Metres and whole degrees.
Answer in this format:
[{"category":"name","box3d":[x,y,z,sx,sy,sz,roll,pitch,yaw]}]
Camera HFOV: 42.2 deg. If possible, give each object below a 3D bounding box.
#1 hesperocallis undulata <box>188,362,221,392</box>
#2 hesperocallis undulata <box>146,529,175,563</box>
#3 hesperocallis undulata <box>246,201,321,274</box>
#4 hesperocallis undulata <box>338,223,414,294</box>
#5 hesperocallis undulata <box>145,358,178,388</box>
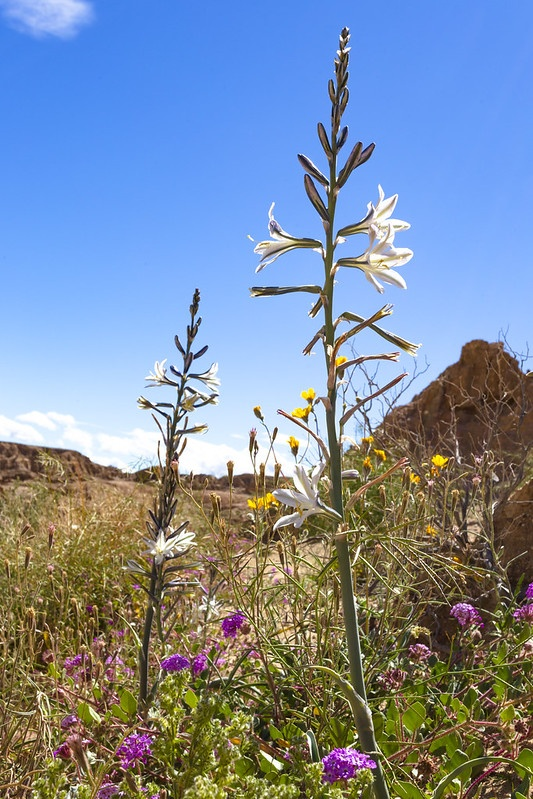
[{"category":"hesperocallis undulata","box3d":[-0.162,-0.057,1.841,0.114,0.079,0.095,-2,-8,15]},{"category":"hesperocallis undulata","box3d":[-0.353,0.491,2.312,0.089,0.102,0.101,6,-10,-8]},{"category":"hesperocallis undulata","box3d":[0.073,-0.446,1.869,0.159,0.141,0.210,6,-10,-10]},{"category":"hesperocallis undulata","box3d":[0.246,-0.374,1.919,0.248,0.127,0.166,4,-4,9]},{"category":"hesperocallis undulata","box3d":[-0.281,-0.059,1.871,0.061,0.052,0.091,10,-18,24]}]
